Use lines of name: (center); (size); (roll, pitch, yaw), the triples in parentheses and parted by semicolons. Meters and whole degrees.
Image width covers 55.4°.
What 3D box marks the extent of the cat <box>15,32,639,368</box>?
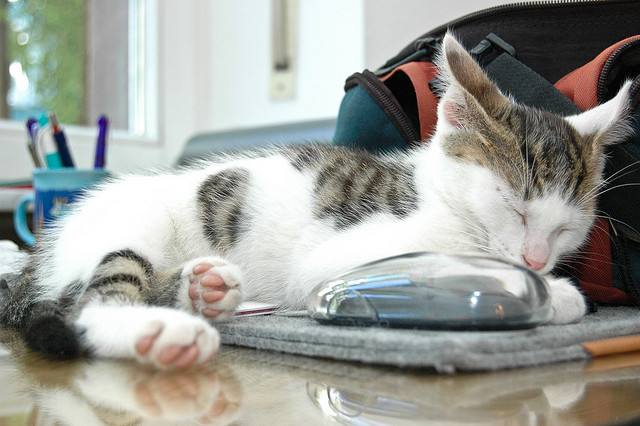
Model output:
cat: (-0.016, 0.003, 0.990); (0.762, 0.338, 0.601); (0, 7, 28)

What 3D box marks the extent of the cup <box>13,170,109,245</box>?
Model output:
cup: (-0.588, 0.010, 1.340); (0.177, 0.181, 0.116); (-6, -11, 28)

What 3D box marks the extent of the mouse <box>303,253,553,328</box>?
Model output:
mouse: (0.145, 0.109, 0.820); (0.318, 0.105, 0.040); (1, 10, 10)
